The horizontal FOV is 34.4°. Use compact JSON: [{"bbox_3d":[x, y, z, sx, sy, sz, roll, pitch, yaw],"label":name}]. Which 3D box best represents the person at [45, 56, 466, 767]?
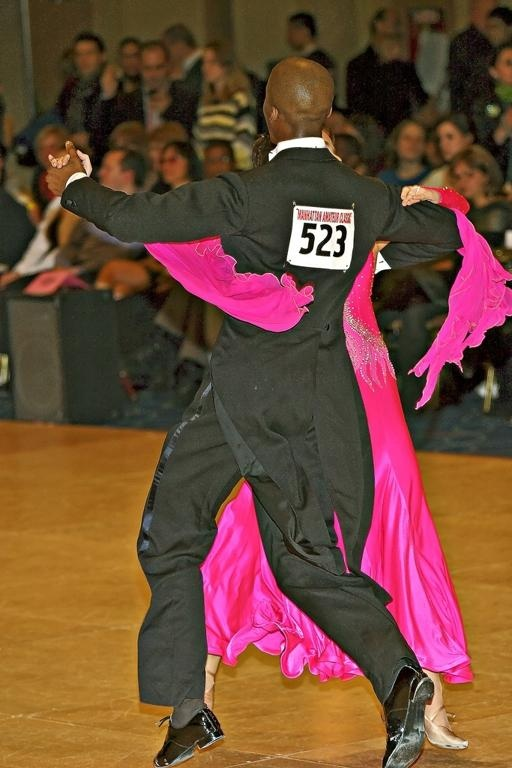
[{"bbox_3d":[0.032,0.093,1.576,0.710,1.363,0.507,-2,4,13],"label":"person"}]

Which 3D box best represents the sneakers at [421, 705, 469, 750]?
[{"bbox_3d":[0.390,0.732,1.781,0.054,0.052,0.148,5,0,-30],"label":"sneakers"}]
